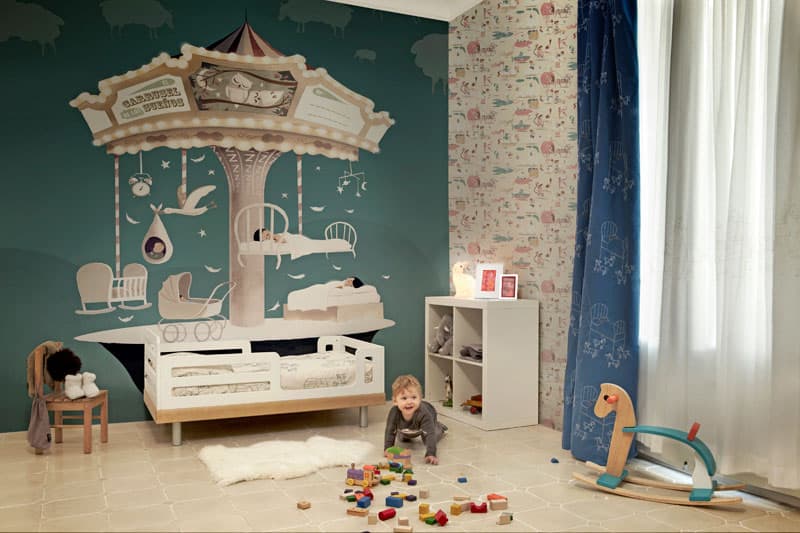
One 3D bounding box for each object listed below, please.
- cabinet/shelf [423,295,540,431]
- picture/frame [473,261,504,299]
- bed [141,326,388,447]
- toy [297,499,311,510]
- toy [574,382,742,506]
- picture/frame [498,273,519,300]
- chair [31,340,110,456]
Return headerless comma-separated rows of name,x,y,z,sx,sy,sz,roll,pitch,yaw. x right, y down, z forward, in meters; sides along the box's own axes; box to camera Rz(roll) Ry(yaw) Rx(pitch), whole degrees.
cabinet/shelf,0.739,0.843,5.521,0.517,1.071,1.145,0,-1,-23
picture/frame,0.794,0.125,5.669,0.329,0.380,0.031,-5,-16,43
bed,-1.115,0.916,5.300,1.915,0.828,0.569,-2,10,-16
toy,-0.608,1.499,4.053,0.090,0.038,0.061,-2,9,-12
toy,1.663,1.234,4.467,1.253,0.794,0.510,0,-3,25
picture/frame,0.939,0.178,5.563,0.200,0.263,0.036,-8,-21,33
chair,-2.596,0.962,4.961,0.538,0.786,0.741,-5,10,-29
